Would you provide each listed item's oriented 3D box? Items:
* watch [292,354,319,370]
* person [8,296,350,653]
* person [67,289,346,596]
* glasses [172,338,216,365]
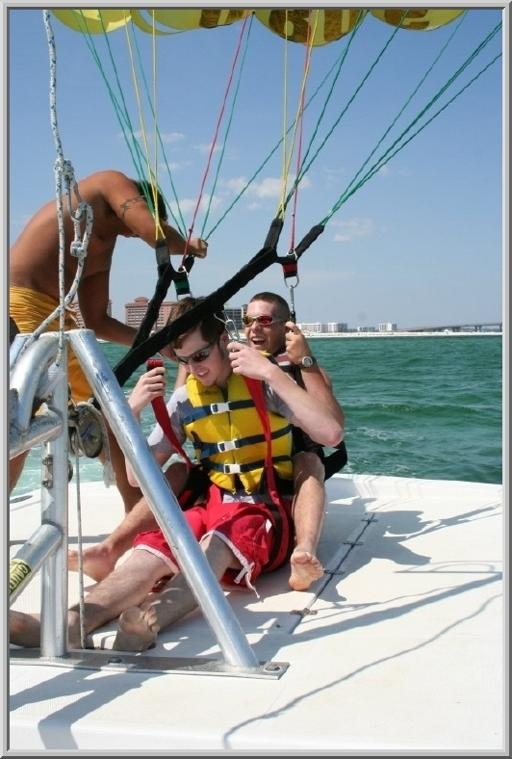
[{"bbox_3d":[0.163,-0.046,2.141,0.062,0.033,0.055,-7,-2,3],"label":"watch"},{"bbox_3d":[-0.074,0.187,2.001,0.630,0.846,1.037,1,1,7],"label":"person"},{"bbox_3d":[-0.200,0.189,2.217,0.911,0.857,1.005,-11,2,-17],"label":"person"},{"bbox_3d":[-0.184,-0.073,2.058,0.114,0.067,0.074,1,1,4],"label":"glasses"}]
